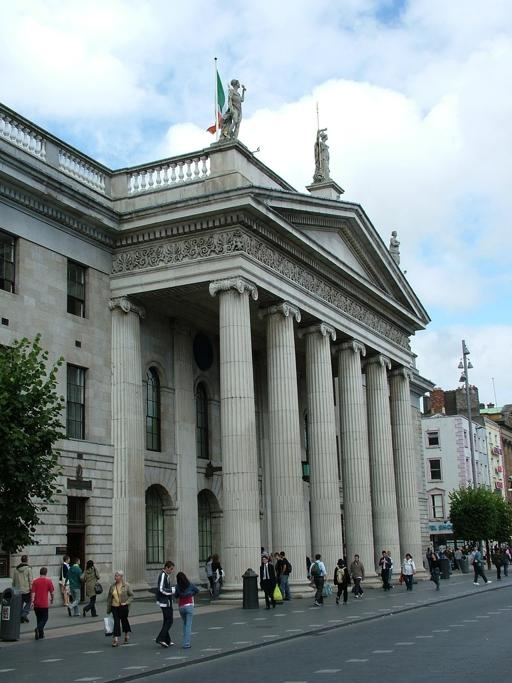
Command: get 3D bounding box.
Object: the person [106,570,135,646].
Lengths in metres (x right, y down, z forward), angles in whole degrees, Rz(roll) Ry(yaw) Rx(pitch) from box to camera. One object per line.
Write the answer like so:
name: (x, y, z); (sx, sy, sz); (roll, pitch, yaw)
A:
person: (-2.525, 4.913, 14.274); (0.419, 1.253, 1.667); (0, -16, -11)

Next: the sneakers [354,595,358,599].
sneakers: (3.363, 8.494, 25.665); (0.066, 0.119, 0.114); (6, -7, -34)

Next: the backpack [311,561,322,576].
backpack: (1.768, 6.621, 22.435); (0.259, 0.374, 0.425); (2, -16, -19)

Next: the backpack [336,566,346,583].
backpack: (2.534, 6.943, 22.871); (0.284, 0.462, 0.285); (-4, -15, 5)

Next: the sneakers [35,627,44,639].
sneakers: (-4.139, 5.554, 14.661); (0.085, 0.262, 0.106); (0, -3, 7)
